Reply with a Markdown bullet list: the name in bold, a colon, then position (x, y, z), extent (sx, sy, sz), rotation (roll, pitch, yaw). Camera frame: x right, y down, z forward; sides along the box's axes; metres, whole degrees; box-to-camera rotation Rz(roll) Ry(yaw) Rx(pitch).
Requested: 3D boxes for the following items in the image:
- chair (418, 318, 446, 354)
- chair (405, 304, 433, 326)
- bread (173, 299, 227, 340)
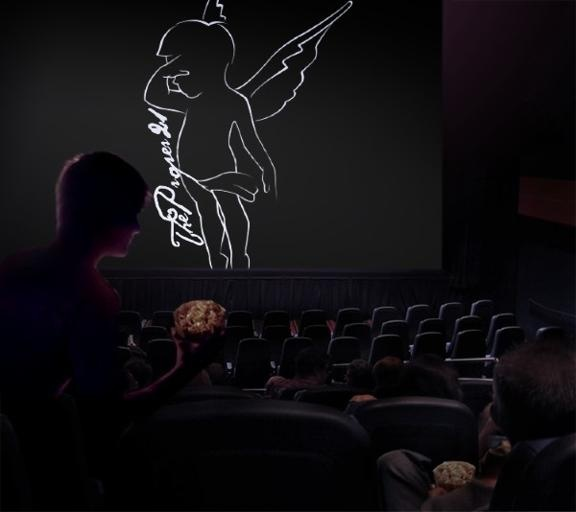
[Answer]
- **chair**: position (1.420, 0.801, 5.098), extent (0.229, 0.368, 0.256), rotation (-1, 6, -6)
- **chair**: position (1.763, 0.775, 6.937), extent (0.309, 0.324, 0.272), rotation (1, -1, -1)
- **bread**: position (-0.221, 0.171, 1.302), extent (0.112, 0.104, 0.041), rotation (-17, -34, -19)
